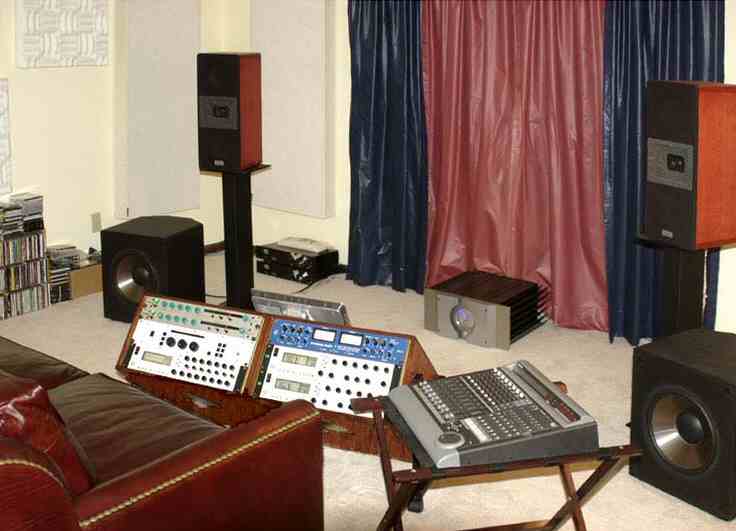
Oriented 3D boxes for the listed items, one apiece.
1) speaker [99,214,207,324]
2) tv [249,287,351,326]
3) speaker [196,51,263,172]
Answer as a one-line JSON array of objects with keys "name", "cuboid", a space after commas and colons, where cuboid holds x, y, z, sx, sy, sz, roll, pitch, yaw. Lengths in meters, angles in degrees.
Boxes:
[{"name": "speaker", "cuboid": [-1.461, 0.031, 4.533, 0.624, 0.670, 0.348, 3, 12, 19]}, {"name": "tv", "cuboid": [-0.341, 0.197, 2.991, 0.481, 0.130, 0.176, 3, 12, 22]}, {"name": "speaker", "cuboid": [-0.864, -0.956, 4.196, 0.418, 0.721, 0.250, -4, 12, -14]}]
